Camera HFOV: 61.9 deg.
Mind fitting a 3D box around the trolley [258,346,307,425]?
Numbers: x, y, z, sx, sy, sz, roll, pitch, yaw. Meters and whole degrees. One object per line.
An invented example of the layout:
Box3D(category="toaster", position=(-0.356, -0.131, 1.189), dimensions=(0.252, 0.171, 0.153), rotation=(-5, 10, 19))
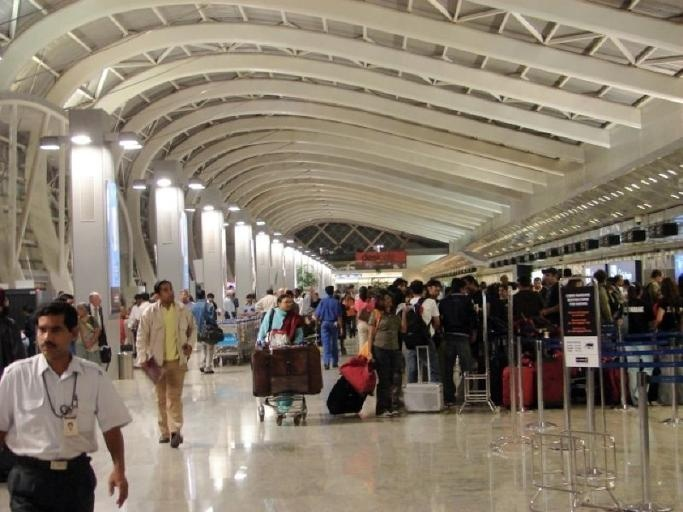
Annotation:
Box3D(category="trolley", position=(-0.973, 2.115, 9.694), dimensions=(1.108, 1.258, 0.778), rotation=(1, -11, -17))

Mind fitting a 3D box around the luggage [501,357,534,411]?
Box3D(category="luggage", position=(3.301, 2.306, 10.841), dimensions=(0.566, 0.838, 1.013), rotation=(-1, 11, 17))

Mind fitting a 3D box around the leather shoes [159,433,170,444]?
Box3D(category="leather shoes", position=(-2.543, 2.622, 8.225), dimensions=(0.167, 0.153, 0.099), rotation=(4, -12, -5))

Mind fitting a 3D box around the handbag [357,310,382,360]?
Box3D(category="handbag", position=(0.441, 1.306, 9.940), dimensions=(0.236, 0.971, 0.226), rotation=(20, -17, -10))

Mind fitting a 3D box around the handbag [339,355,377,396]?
Box3D(category="handbag", position=(0.297, 1.976, 9.815), dimensions=(0.349, 0.654, 0.687), rotation=(8, 20, -39))

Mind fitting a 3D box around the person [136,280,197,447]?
Box3D(category="person", position=(-2.473, 1.483, 8.070), dimensions=(0.760, 2.332, 0.695), rotation=(1, -7, -14))

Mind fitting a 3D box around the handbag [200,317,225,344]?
Box3D(category="handbag", position=(-3.536, 2.068, 15.535), dimensions=(0.701, 0.628, 0.491), rotation=(-2, 2, -12))

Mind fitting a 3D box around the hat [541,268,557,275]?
Box3D(category="hat", position=(3.882, 0.274, 10.741), dimensions=(0.222, 0.116, 0.289), rotation=(1, -5, -22))

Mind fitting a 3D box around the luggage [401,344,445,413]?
Box3D(category="luggage", position=(1.319, 2.298, 10.639), dimensions=(0.863, 1.139, 0.841), rotation=(-3, -11, 24))

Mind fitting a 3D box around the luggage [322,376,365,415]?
Box3D(category="luggage", position=(0.069, 2.398, 10.161), dimensions=(0.672, 0.910, 0.506), rotation=(-2, 19, 6))

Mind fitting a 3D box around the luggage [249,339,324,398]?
Box3D(category="luggage", position=(-0.898, 1.921, 9.687), dimensions=(1.136, 0.800, 0.781), rotation=(-1, -11, -7))
